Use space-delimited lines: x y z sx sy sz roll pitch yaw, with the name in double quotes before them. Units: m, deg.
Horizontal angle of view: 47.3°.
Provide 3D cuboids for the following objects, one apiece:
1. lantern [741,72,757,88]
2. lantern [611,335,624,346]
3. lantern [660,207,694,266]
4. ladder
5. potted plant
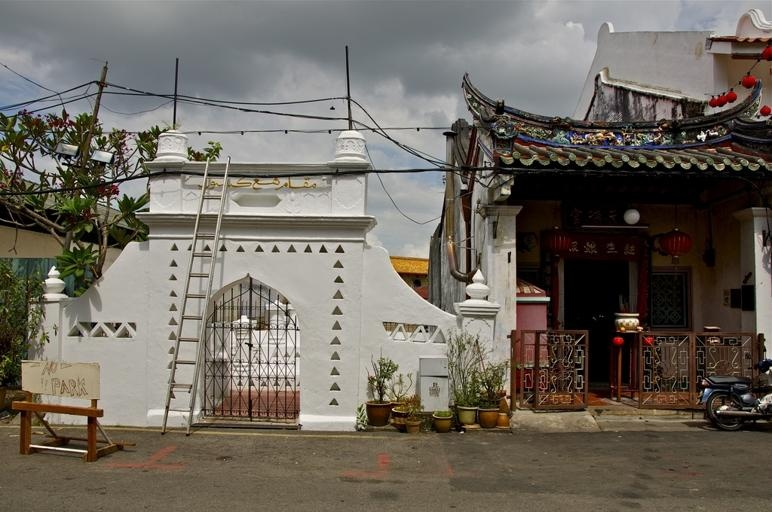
"lantern" 8.674 -4.125 20.916 0.284 0.269 0.527 3 14 14
"lantern" 5.549 2.019 20.961 0.229 0.259 0.219 -4 -5 -17
"lantern" 7.278 -0.436 21.953 0.727 1.448 0.716 -1 -7 19
"ladder" -4.383 0.784 19.759 2.297 6.122 1.696 1 -1 -7
"potted plant" 1.212 2.784 20.558 2.557 2.342 3.603 0 9 7
